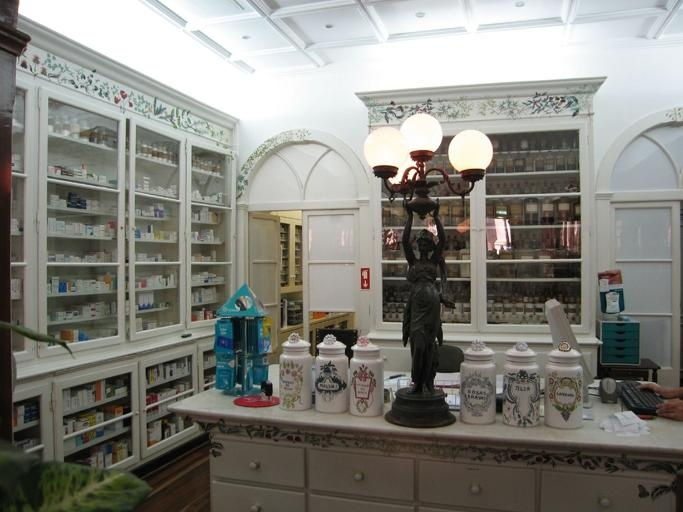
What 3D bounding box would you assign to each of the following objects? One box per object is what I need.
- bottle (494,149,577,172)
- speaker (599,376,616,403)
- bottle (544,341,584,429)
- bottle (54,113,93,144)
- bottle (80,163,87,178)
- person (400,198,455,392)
[{"bbox_3d":[1.964,-0.961,5.315,0.839,0.214,0.029,1,2,12],"label":"bottle"},{"bbox_3d":[1.581,0.798,3.090,0.076,0.163,0.053,2,-16,14],"label":"speaker"},{"bbox_3d":[1.155,0.663,2.704,0.202,0.429,0.156,0,2,10],"label":"bottle"},{"bbox_3d":[-2.199,-1.049,4.295,0.051,0.198,0.331,1,3,18],"label":"bottle"},{"bbox_3d":[-2.161,-0.717,4.408,0.048,0.112,0.057,-1,2,-32],"label":"bottle"},{"bbox_3d":[0.475,0.224,2.858,0.268,0.972,0.312,0,2,8],"label":"person"}]
